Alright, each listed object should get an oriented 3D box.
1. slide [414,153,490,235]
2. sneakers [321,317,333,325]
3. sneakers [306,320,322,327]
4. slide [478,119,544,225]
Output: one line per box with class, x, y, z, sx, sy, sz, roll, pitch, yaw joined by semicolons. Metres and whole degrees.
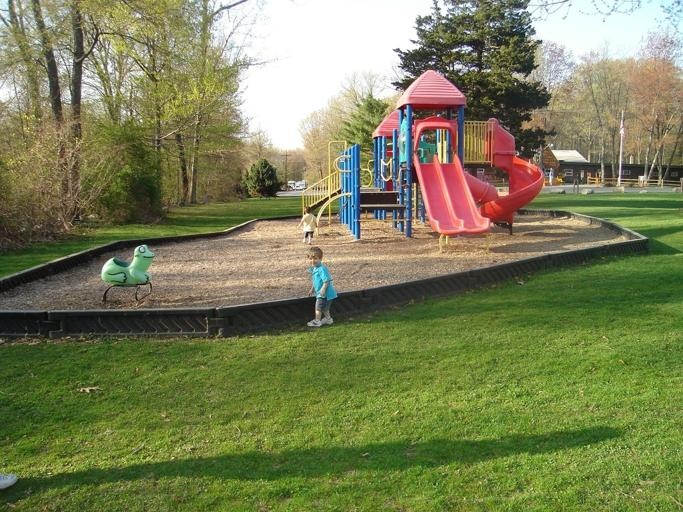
slide;3.881;-2.097;17.648;0.706;2.651;6.698;20;17;22
sneakers;-0.240;0.940;8.796;0.188;0.086;0.076;5;13;33
sneakers;-0.424;0.963;8.695;0.209;0.103;0.089;-10;47;-4
slide;5.697;-2.979;20.289;1.761;3.622;3.573;0;5;18
